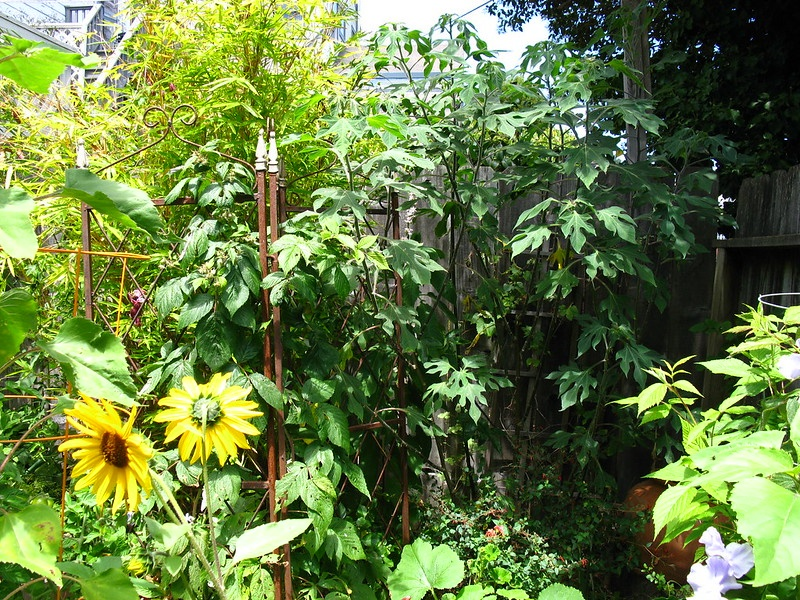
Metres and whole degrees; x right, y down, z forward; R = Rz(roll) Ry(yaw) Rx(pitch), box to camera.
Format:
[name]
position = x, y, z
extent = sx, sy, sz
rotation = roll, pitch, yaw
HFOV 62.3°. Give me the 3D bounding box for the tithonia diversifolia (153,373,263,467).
[tithonia diversifolia]
position = -0.510, 0.316, 1.775
extent = 0.264, 0.239, 0.090
rotation = 6, -7, -9
